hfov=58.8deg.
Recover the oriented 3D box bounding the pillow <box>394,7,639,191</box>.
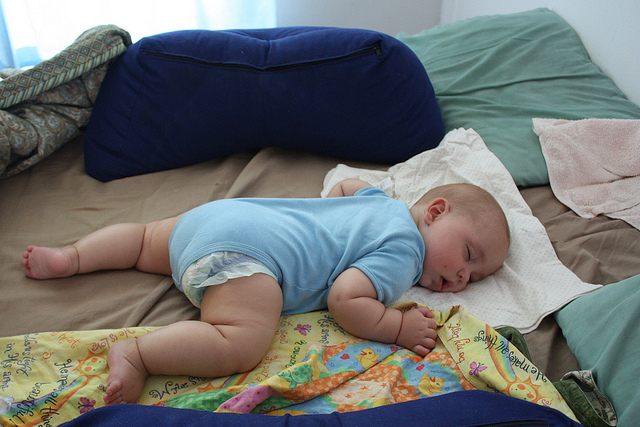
[{"bbox_3d":[0.985,-0.612,2.820,1.225,0.814,1.165,-8,11,-26],"label":"pillow"}]

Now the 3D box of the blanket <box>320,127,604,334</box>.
[{"bbox_3d":[0.492,0.074,1.904,0.607,0.271,0.369,-29,50,-21],"label":"blanket"}]

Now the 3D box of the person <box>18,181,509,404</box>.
[{"bbox_3d":[-0.019,0.204,1.749,1.346,0.396,0.552,-13,28,-22],"label":"person"}]
